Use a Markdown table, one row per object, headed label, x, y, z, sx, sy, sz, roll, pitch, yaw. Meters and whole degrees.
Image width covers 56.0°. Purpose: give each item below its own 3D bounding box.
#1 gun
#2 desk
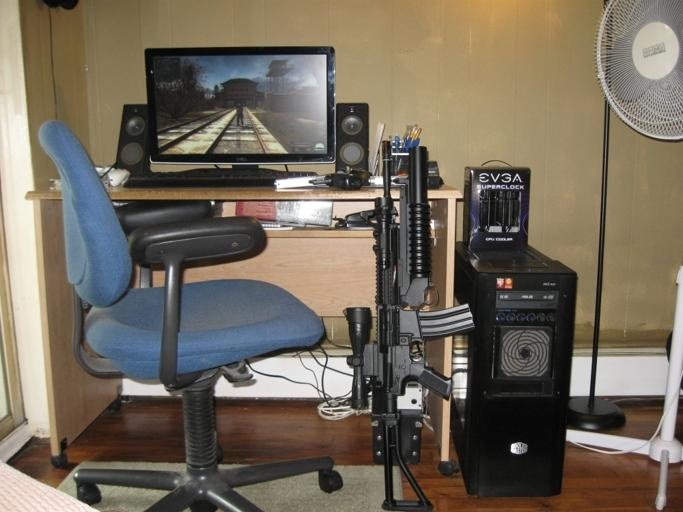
| label | x | y | z | sx | sy | sz | roll | pitch | yaw |
| --- | --- | --- | --- | --- | --- | --- | --- | --- | --- |
| gun | 0.193 | 0.261 | 2.285 | 0.383 | 1.322 | 0.487 | -6 | 12 | -38 |
| desk | -0.408 | 0.107 | 2.782 | 1.958 | 1.346 | 1.009 | 0 | 2 | -2 |
